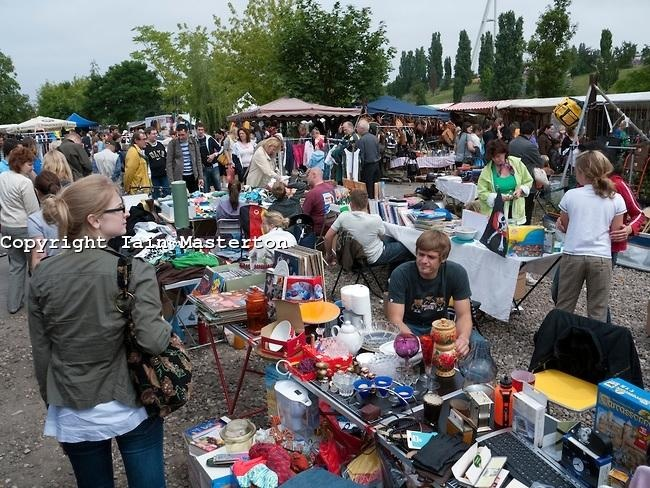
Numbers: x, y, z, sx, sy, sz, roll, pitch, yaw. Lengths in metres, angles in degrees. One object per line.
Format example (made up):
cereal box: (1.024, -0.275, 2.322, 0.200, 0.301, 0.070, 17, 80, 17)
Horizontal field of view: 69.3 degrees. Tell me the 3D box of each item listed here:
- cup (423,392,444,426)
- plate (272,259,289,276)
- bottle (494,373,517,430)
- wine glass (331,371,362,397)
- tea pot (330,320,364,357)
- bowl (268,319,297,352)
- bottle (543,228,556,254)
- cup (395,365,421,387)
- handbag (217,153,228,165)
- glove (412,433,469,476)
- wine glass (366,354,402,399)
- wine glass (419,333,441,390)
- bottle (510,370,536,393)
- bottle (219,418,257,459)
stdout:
cup: (0.531, 0.824, 2.346, 0.109, 0.130, 0.117, 0, 5, 0)
plate: (-0.320, 0.158, 3.400, 0.084, 0.083, 0.169, -10, 16, -22)
bottle: (0.891, 0.778, 2.334, 0.101, 0.215, 0.170, 3, 16, 23)
wine glass: (0.108, 0.769, 2.593, 0.144, 0.061, 0.156, 2, 16, 20)
tea pot: (0.153, 0.576, 2.881, 0.196, 0.186, 0.145, 1, 13, 24)
bowl: (-0.273, 0.580, 2.991, 0.163, 0.143, 0.181, -2, 15, 7)
bottle: (2.227, -0.032, 4.638, 0.138, 0.237, 0.078, -8, 15, -18)
cup: (0.465, 0.746, 2.658, 0.091, 0.128, 0.063, -2, -6, 5)
handbag: (-2.169, -1.812, 10.083, 0.170, 0.081, 0.249, 9, 49, -4)
glove: (0.521, 0.934, 2.111, 0.122, 0.053, 0.166, 8, 22, 37)
wine glass: (0.327, 0.746, 2.616, 0.157, 0.142, 0.163, -1, 5, 1)
wine glass: (0.583, 0.655, 2.644, 0.094, 0.228, 0.218, -1, 15, 11)
bottle: (1.000, 0.709, 2.393, 0.096, 0.110, 0.097, -10, 13, -32)
bottle: (-0.520, 1.172, 2.822, 0.125, 0.143, 0.179, -1, 8, 0)
